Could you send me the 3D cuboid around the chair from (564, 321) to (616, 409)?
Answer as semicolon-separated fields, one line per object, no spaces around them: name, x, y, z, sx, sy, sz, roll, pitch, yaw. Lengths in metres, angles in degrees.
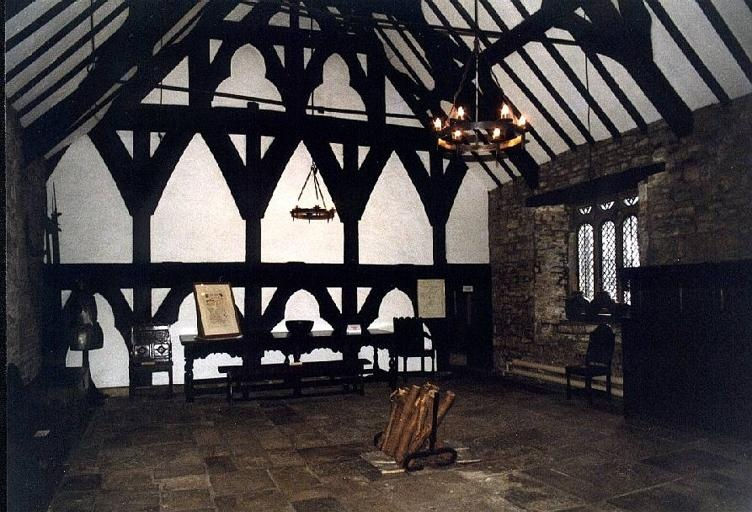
chair;3.717;1.801;12.012;0.741;1.246;1.171;5;12;25
